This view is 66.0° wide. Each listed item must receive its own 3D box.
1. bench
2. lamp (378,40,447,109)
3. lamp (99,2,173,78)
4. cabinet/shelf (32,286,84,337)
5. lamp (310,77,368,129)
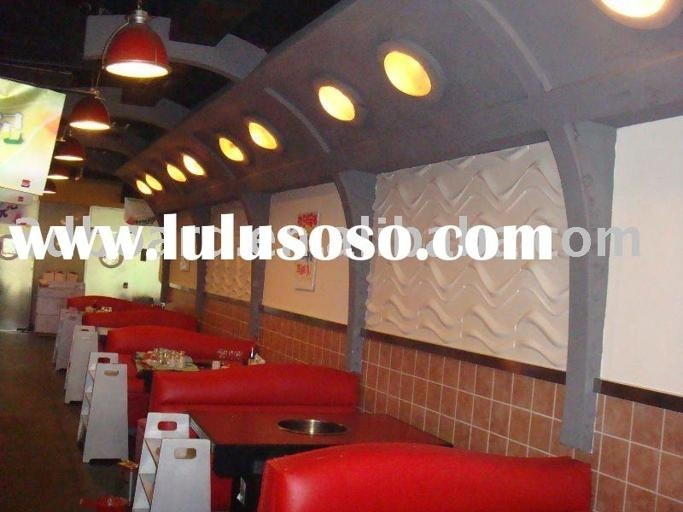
[{"bbox_3d":[-1.226,1.587,5.827,1.952,1.697,5.268,7,-12,-31],"label":"bench"},{"bbox_3d":[0.530,-1.399,3.982,0.495,0.370,0.485,-1,-10,10],"label":"lamp"},{"bbox_3d":[-1.585,-1.798,4.130,0.494,0.744,0.363,-6,-12,35],"label":"lamp"},{"bbox_3d":[-6.576,1.298,12.208,1.132,1.192,0.838,4,-2,-32],"label":"cabinet/shelf"},{"bbox_3d":[-0.010,-1.435,4.976,0.180,0.394,0.665,-29,-9,31],"label":"lamp"}]
